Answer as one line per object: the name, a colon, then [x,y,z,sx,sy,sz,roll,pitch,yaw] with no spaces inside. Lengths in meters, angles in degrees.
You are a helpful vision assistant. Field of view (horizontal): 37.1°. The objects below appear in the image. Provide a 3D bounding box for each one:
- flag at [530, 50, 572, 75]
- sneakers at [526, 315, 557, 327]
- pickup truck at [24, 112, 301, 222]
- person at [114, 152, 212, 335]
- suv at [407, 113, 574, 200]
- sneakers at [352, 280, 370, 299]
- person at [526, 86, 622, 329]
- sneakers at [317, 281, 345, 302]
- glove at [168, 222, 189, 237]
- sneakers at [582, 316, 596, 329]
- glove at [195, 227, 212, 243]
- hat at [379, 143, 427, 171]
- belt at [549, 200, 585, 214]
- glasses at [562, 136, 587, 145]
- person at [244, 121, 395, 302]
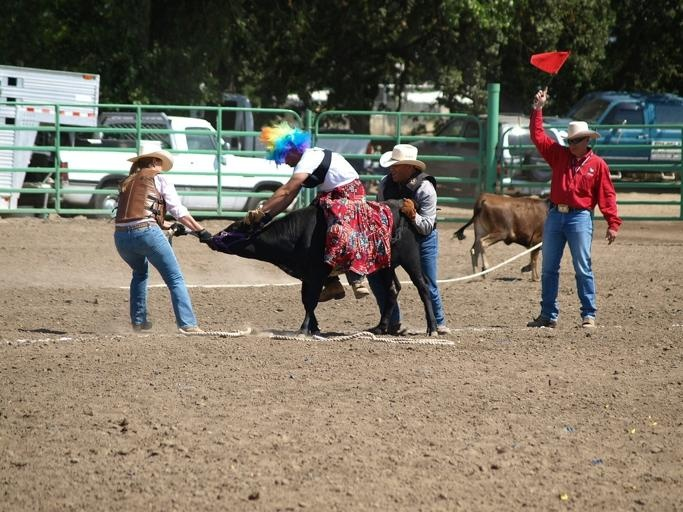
flag: [2.574,-2.418,12.706,0.402,0.297,0.455,2,6,17]
sneakers: [2.476,0.800,12.640,0.369,0.143,0.143,4,-2,5]
pickup truck: [-3.192,-1.666,18.832,4.521,1.896,2.191,-3,5,-19]
person: [-2.130,-0.170,11.817,0.944,2.136,0.503,1,6,-1]
suv: [3.200,-2.095,22.641,1.972,1.524,3.706,-4,11,-21]
sneakers: [0.219,0.384,11.610,0.115,0.142,0.331,-9,-11,-9]
person: [2.809,-0.568,12.363,1.083,2.905,0.378,2,6,9]
sneakers: [-0.114,0.395,11.872,0.393,0.193,0.155,-8,4,41]
glove: [-1.947,-0.309,11.799,0.134,0.160,0.393,-2,6,-43]
sneakers: [3.020,0.798,12.464,0.141,0.110,0.269,-2,-4,10]
glove: [-1.541,-0.221,11.407,0.144,0.134,0.180,27,10,-25]
hat: [0.788,-1.142,11.764,0.402,0.191,0.359,4,7,-19]
belt: [2.697,-0.596,12.290,0.437,0.140,0.107,4,7,32]
glasses: [2.821,-1.400,12.208,0.244,0.104,0.142,3,6,20]
person: [-0.344,-0.502,11.400,1.296,2.013,0.720,0,6,-5]
